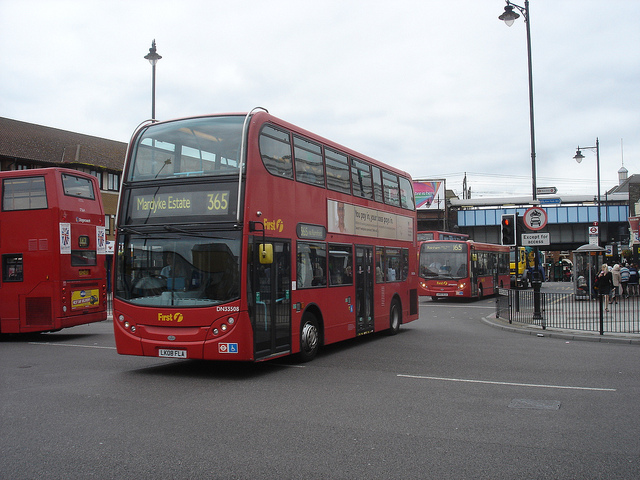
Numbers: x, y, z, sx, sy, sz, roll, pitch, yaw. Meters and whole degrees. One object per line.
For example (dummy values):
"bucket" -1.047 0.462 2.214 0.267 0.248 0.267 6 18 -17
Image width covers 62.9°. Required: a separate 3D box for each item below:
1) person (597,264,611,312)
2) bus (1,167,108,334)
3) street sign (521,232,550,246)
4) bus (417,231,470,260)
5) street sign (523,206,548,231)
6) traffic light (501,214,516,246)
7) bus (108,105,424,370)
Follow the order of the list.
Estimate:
"person" 13.251 2.157 24.417 0.714 2.262 0.629 5 26 42
"bus" -8.833 0.354 17.183 4.620 4.941 1.979 -1 -3 12
"street sign" 8.652 -0.039 21.093 1.044 0.538 0.881 -1 -3 23
"bus" 8.586 0.660 36.258 2.030 2.175 7.547 -3 -4 24
"street sign" 8.617 -0.879 21.055 0.776 0.908 0.816 -1 -3 24
"traffic light" 7.869 -0.458 21.850 0.506 1.304 1.109 -1 -3 24
"bus" 0.672 0.327 15.482 4.291 6.367 12.709 -1 -5 27
